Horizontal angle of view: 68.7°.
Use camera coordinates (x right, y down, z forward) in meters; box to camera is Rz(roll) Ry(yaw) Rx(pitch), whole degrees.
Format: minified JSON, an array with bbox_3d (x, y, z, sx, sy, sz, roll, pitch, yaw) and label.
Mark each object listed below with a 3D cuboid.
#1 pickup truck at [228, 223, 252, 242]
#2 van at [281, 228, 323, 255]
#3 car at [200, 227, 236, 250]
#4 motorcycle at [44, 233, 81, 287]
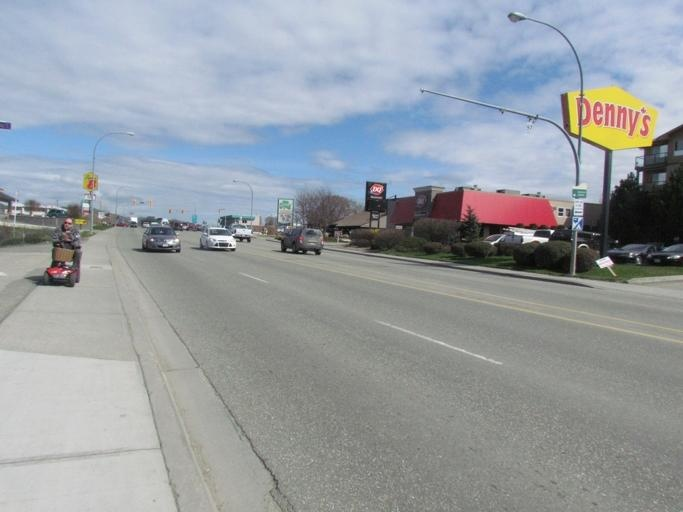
[{"bbox_3d":[-10.605,-2.398,52.911,1.534,1.327,2.967,2,1,-25],"label":"pickup truck"},{"bbox_3d":[-2.955,-1.222,35.678,1.469,1.343,3.261,0,7,-18],"label":"van"},{"bbox_3d":[-8.313,-1.013,33.734,1.715,1.381,3.270,-5,13,-35],"label":"car"},{"bbox_3d":[-7.355,0.096,13.285,0.803,1.172,1.743,6,7,-26],"label":"motorcycle"}]
